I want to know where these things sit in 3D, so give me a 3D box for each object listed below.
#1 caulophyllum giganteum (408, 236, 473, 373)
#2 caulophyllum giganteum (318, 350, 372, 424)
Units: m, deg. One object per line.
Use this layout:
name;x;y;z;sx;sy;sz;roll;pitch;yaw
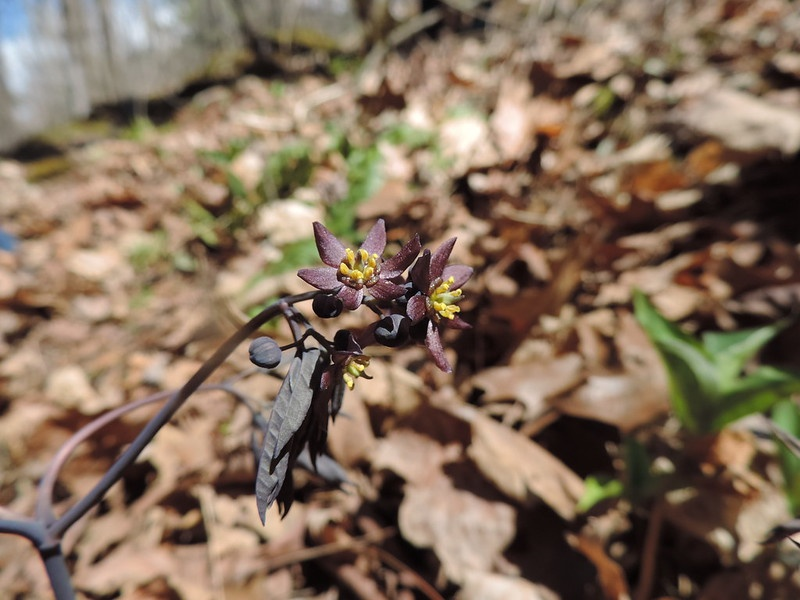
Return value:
caulophyllum giganteum;0.139;0.037;2.844;0.235;0.450;0.406;-6;49;5
caulophyllum giganteum;-0.191;0.229;2.767;0.181;0.081;0.160;-40;16;4
